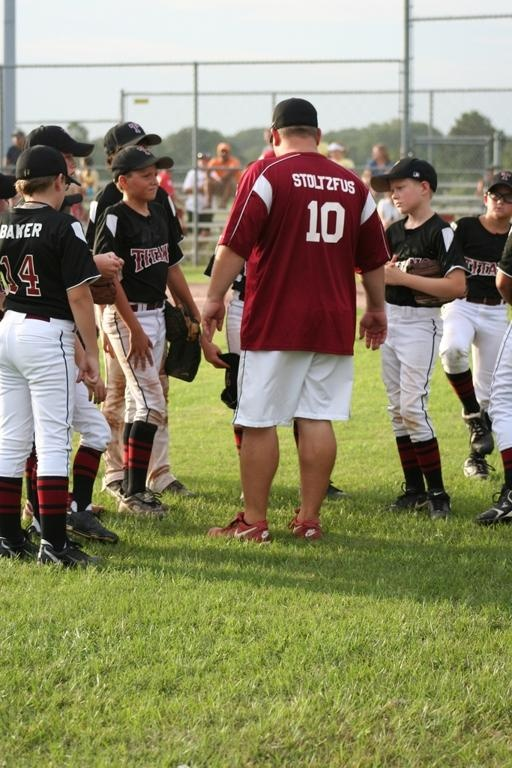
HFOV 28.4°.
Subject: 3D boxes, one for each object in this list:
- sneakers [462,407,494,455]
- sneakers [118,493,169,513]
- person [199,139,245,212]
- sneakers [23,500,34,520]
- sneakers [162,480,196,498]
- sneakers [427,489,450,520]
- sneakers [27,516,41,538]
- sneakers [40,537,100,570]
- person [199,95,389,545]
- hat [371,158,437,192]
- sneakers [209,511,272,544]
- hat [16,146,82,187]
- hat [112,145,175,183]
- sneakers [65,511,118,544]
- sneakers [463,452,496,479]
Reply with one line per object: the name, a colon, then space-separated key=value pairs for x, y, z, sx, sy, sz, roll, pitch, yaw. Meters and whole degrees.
sneakers: x=1.433 y=0.314 z=6.575 sx=0.128 sy=0.163 sz=0.355 roll=-29 pitch=32 yaw=25
sneakers: x=-0.587 y=0.639 z=5.373 sx=0.249 sy=0.101 sz=0.233 roll=1 pitch=8 yaw=-6
person: x=-0.508 y=-3.388 z=16.463 sx=0.531 sy=1.040 sz=0.831 roll=4 pitch=12 yaw=22
sneakers: x=-1.177 y=0.656 z=5.287 sx=0.056 sy=0.059 sz=0.153 roll=1 pitch=1 yaw=-2
sneakers: x=-0.435 y=0.611 z=5.867 sx=0.226 sy=0.081 sz=0.072 roll=2 pitch=18 yaw=20
sneakers: x=0.983 y=0.649 z=5.424 sx=0.157 sy=0.151 sz=0.424 roll=-2 pitch=1 yaw=6
sneakers: x=-1.058 y=0.703 z=4.898 sx=0.053 sy=0.055 sz=0.141 roll=1 pitch=-4 yaw=-9
sneakers: x=-0.775 y=0.706 z=4.254 sx=0.229 sy=0.098 sz=0.168 roll=7 pitch=9 yaw=30
person: x=0.247 y=-0.319 z=4.885 sx=0.935 sy=2.080 sz=0.505 roll=-4 pitch=11 yaw=-39
hat: x=0.814 y=-1.141 z=5.533 sx=0.348 sy=0.159 sz=0.207 roll=6 pitch=2 yaw=-3
sneakers: x=-0.048 y=0.690 z=4.838 sx=0.332 sy=0.122 sz=0.120 roll=2 pitch=-3 yaw=31
hat: x=-0.881 y=-0.945 z=4.347 sx=0.143 sy=0.097 sz=0.210 roll=15 pitch=28 yaw=28
hat: x=-0.576 y=-1.145 z=5.224 sx=0.305 sy=0.139 sz=0.182 roll=-17 pitch=12 yaw=18
sneakers: x=-0.761 y=0.664 z=4.744 sx=0.308 sy=0.103 sz=0.104 roll=14 pitch=6 yaw=12
sneakers: x=1.441 y=0.526 z=6.492 sx=0.129 sy=0.086 sz=0.224 roll=3 pitch=6 yaw=7
